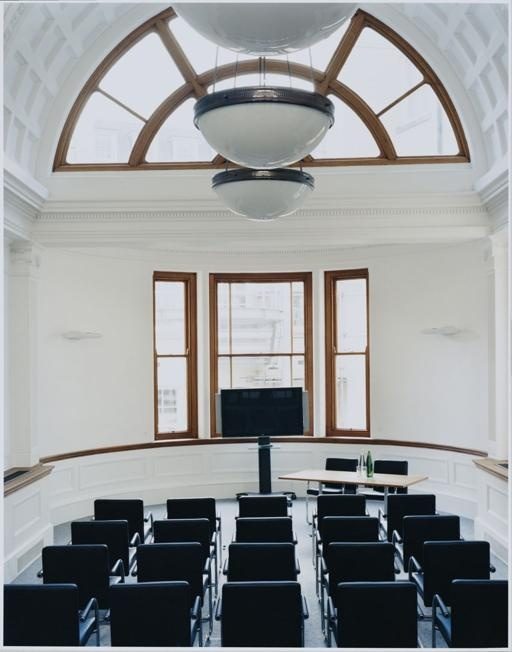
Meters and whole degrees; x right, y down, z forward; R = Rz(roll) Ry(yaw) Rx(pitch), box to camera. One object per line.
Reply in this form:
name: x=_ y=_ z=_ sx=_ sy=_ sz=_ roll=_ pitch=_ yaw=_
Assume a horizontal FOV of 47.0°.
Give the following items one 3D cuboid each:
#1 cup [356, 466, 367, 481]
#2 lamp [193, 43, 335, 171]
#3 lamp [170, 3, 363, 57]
cup: x=1.174 y=1.681 z=6.618 sx=0.096 sy=0.193 sz=0.098 roll=0 pitch=-10 yaw=0
lamp: x=0.037 y=-0.801 z=2.373 sx=0.555 sy=0.211 sz=0.333 roll=1 pitch=-2 yaw=-11
lamp: x=0.018 y=-0.904 z=1.787 sx=0.534 sy=0.088 sz=0.328 roll=1 pitch=-2 yaw=-8
